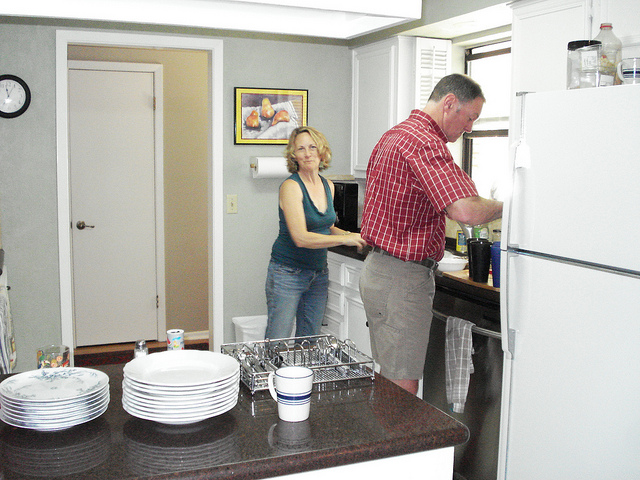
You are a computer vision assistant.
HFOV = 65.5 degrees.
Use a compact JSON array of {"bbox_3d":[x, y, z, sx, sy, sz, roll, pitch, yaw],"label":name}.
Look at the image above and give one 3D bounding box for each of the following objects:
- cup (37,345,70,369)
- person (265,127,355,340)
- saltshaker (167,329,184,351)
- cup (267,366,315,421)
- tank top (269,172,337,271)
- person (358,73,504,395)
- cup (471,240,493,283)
[{"bbox_3d":[-0.813,0.360,1.526,0.080,0.050,0.077,-3,10,0],"label":"cup"},{"bbox_3d":[-0.101,-0.002,3.173,0.552,1.416,0.530,-4,10,-7],"label":"person"},{"bbox_3d":[-0.451,0.318,1.570,0.048,0.057,0.109,-6,10,-18],"label":"saltshaker"},{"bbox_3d":[-0.080,0.420,1.348,0.130,0.115,0.109,0,-3,21],"label":"cup"},{"bbox_3d":[-0.112,-0.113,3.197,0.425,0.637,0.272,-3,9,0],"label":"tank top"},{"bbox_3d":[0.481,0.103,2.306,0.643,1.304,0.320,2,11,27],"label":"person"},{"bbox_3d":[0.854,0.111,2.644,0.135,0.206,0.139,0,7,0],"label":"cup"}]
